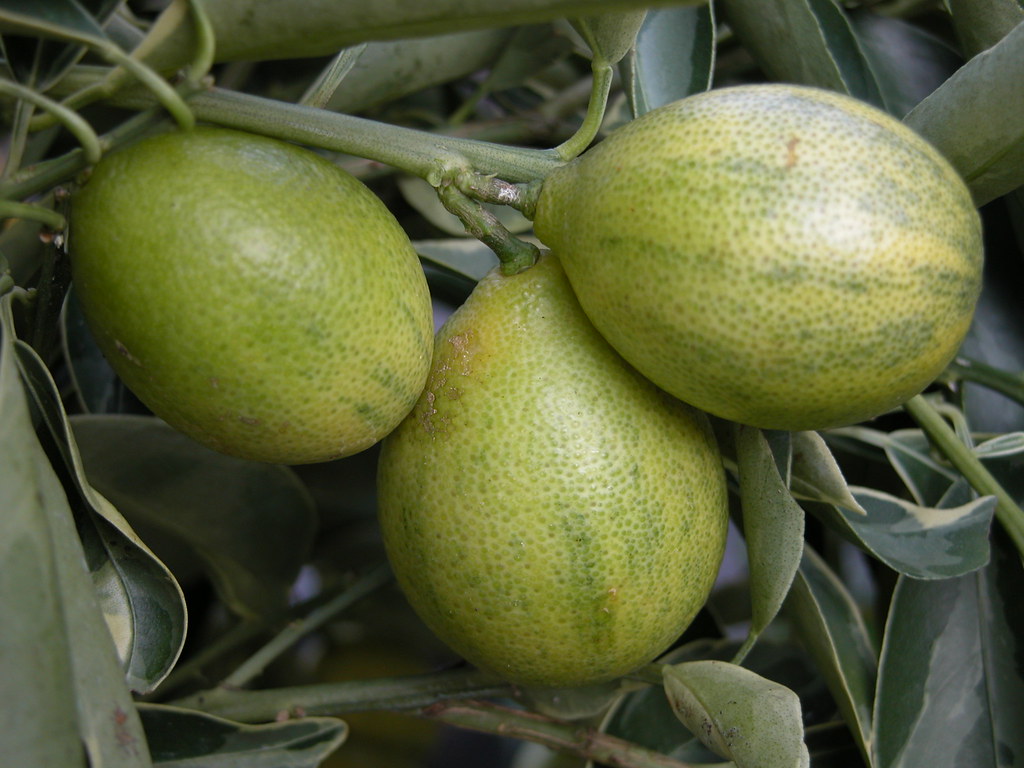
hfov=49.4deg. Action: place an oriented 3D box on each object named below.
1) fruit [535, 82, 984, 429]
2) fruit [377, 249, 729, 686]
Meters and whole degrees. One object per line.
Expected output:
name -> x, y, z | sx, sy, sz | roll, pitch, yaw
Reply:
fruit -> 0.152, -0.089, 0.697 | 0.265, 0.199, 0.191 | 20, -35, 19
fruit -> 0.023, 0.052, 0.743 | 0.209, 0.242, 0.209 | -5, 21, 3
